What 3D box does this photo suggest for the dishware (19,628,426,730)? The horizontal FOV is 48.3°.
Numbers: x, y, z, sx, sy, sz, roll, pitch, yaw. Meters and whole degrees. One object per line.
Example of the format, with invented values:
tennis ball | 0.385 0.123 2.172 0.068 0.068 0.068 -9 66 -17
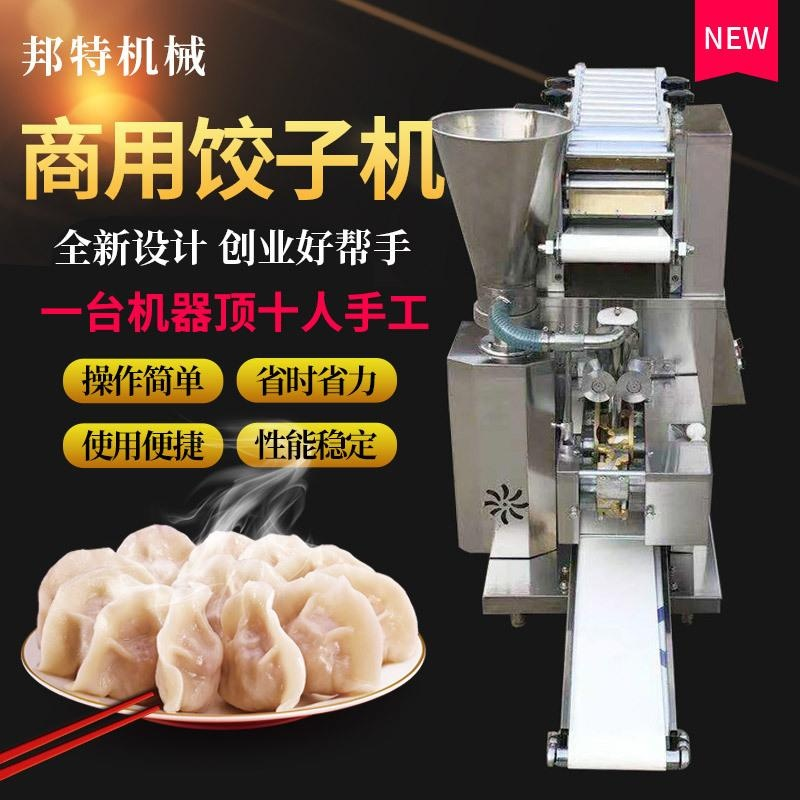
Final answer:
dishware | -0.588 0.904 2.699 1.265 0.160 0.408 4 19 3
